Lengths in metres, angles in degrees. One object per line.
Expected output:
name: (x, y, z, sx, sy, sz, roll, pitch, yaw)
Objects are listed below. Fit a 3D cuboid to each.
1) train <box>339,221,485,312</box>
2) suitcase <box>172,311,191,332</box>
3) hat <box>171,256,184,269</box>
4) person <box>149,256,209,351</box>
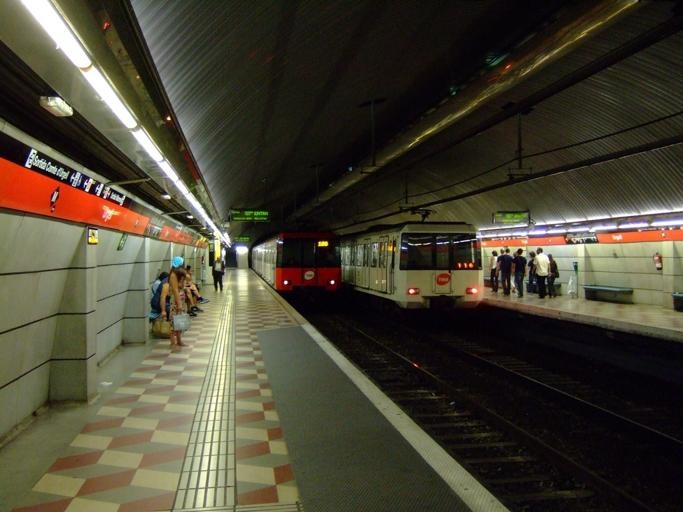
train: (1.239, 0.170, 17.471, 2.497, 3.060, 9.074, -3, 7, -25)
suitcase: (-3.304, 1.374, 10.077, 0.451, 0.444, 0.329, 1, -5, -12)
hat: (-3.978, 0.176, 11.534, 0.227, 0.303, 0.303, 15, 17, 24)
person: (-4.124, 1.243, 12.011, 1.338, 2.273, 0.959, -8, 27, -23)
